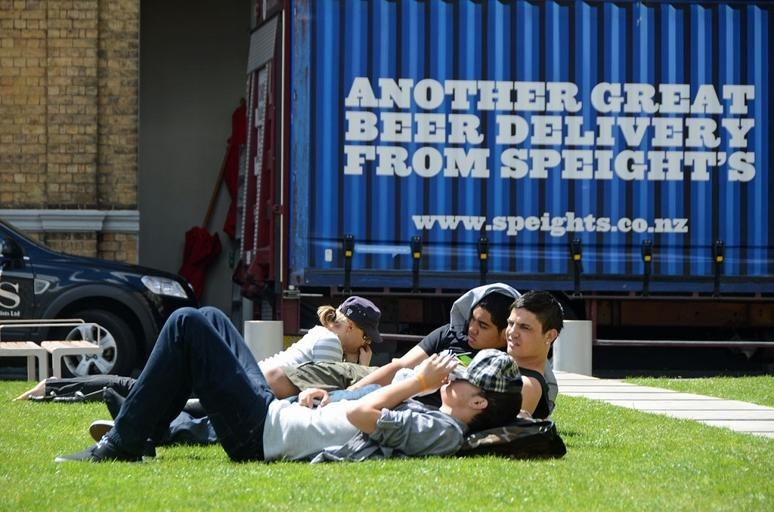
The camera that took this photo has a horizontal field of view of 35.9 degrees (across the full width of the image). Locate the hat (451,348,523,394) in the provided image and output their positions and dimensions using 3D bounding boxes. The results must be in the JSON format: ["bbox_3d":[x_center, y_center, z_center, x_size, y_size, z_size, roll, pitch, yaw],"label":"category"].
[{"bbox_3d":[1.017,1.165,12.001,0.586,0.307,0.377,22,18,5],"label":"hat"}]
